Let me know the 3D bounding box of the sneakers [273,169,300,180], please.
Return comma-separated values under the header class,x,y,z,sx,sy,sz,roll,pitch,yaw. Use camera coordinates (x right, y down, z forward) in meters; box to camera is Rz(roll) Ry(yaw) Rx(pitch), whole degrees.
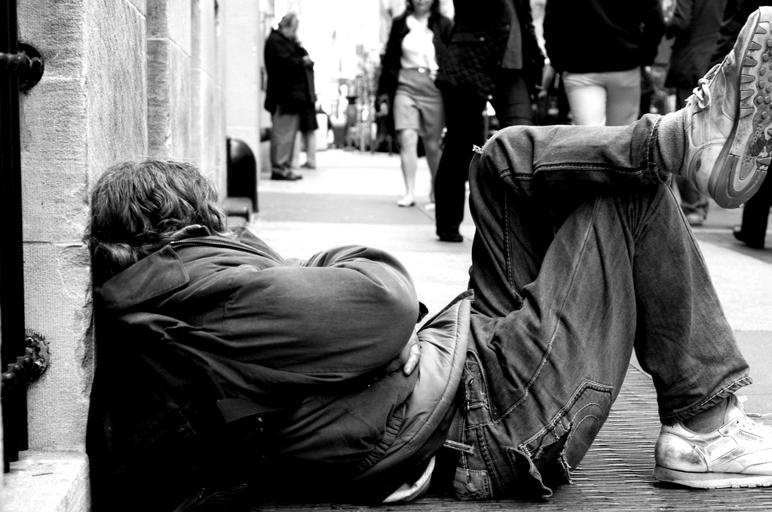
class,x,y,z,sx,sy,sz,roll,pitch,yaw
sneakers,-1.202,-0.981,12.294,0.370,0.148,0.125,0,5,-3
